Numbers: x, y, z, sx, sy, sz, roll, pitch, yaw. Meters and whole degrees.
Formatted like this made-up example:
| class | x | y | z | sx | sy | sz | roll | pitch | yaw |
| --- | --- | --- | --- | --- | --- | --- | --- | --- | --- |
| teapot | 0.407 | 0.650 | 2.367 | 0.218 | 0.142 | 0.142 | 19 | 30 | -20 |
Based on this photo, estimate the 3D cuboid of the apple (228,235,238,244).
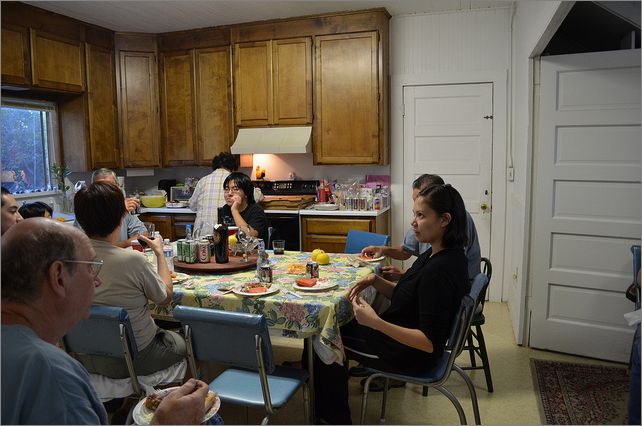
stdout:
| class | x | y | z | sx | sy | sz | roll | pitch | yaw |
| --- | --- | --- | --- | --- | --- | --- | --- | --- | --- |
| apple | -0.733 | 0.217 | 3.520 | 0.060 | 0.059 | 0.060 | 2 | 26 | 45 |

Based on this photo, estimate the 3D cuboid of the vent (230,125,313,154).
| class | x | y | z | sx | sy | sz | roll | pitch | yaw |
| --- | --- | --- | --- | --- | --- | --- | --- | --- | --- |
| vent | -0.638 | -0.919 | 5.379 | 1.007 | 0.308 | 0.307 | 2 | 12 | 19 |

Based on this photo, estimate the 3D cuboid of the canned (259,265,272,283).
| class | x | y | z | sx | sy | sz | roll | pitch | yaw |
| --- | --- | --- | --- | --- | --- | --- | --- | --- | --- |
| canned | -0.379 | 0.408 | 2.934 | 0.097 | 0.106 | 0.102 | 6 | 12 | 25 |

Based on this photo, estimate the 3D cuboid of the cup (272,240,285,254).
| class | x | y | z | sx | sy | sz | roll | pitch | yaw |
| --- | --- | --- | --- | --- | --- | --- | --- | --- | --- |
| cup | -0.365 | 0.288 | 3.710 | 0.097 | 0.084 | 0.104 | -1 | 11 | 0 |

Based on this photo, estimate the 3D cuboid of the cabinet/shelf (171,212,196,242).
| class | x | y | z | sx | sy | sz | roll | pitch | yaw |
| --- | --- | --- | --- | --- | --- | --- | --- | --- | --- |
| cabinet/shelf | -1.621 | 0.140 | 5.046 | 0.343 | 0.321 | 0.182 | 2 | 6 | 9 |

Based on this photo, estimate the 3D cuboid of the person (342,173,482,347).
| class | x | y | z | sx | sy | sz | roll | pitch | yaw |
| --- | --- | --- | --- | --- | --- | --- | --- | --- | --- |
| person | 0.710 | 0.109 | 3.680 | 1.085 | 1.569 | 0.655 | 2 | 5 | 4 |

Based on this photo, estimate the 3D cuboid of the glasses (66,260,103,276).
| class | x | y | z | sx | sy | sz | roll | pitch | yaw |
| --- | --- | --- | --- | --- | --- | --- | --- | --- | --- |
| glasses | -0.902 | 0.203 | 1.614 | 0.136 | 0.041 | 0.133 | -3 | -5 | 26 |

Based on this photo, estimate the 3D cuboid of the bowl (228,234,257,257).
| class | x | y | z | sx | sy | sz | roll | pitch | yaw |
| --- | --- | --- | --- | --- | --- | --- | --- | --- | --- |
| bowl | -0.649 | 0.260 | 3.442 | 0.179 | 0.083 | 0.181 | 2 | 1 | 0 |

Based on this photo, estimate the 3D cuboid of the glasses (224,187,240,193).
| class | x | y | z | sx | sy | sz | roll | pitch | yaw |
| --- | --- | --- | --- | --- | --- | --- | --- | --- | --- |
| glasses | -0.846 | -0.215 | 4.020 | 0.168 | 0.058 | 0.030 | 4 | 13 | 28 |

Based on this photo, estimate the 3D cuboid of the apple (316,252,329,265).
| class | x | y | z | sx | sy | sz | roll | pitch | yaw |
| --- | --- | --- | --- | --- | --- | --- | --- | --- | --- |
| apple | 0.010 | 0.353 | 3.370 | 0.087 | 0.080 | 0.085 | 3 | 26 | 32 |

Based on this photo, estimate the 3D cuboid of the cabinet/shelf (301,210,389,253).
| class | x | y | z | sx | sy | sz | roll | pitch | yaw |
| --- | --- | --- | --- | --- | --- | --- | --- | --- | --- |
| cabinet/shelf | 0.262 | 0.058 | 5.198 | 0.808 | 0.813 | 0.545 | -1 | -2 | 15 |

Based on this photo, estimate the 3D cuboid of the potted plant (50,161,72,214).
| class | x | y | z | sx | sy | sz | roll | pitch | yaw |
| --- | --- | --- | --- | --- | --- | --- | --- | --- | --- |
| potted plant | -3.254 | -0.305 | 5.399 | 0.248 | 0.621 | 0.229 | -7 | 4 | -33 |

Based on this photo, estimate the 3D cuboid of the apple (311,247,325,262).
| class | x | y | z | sx | sy | sz | roll | pitch | yaw |
| --- | --- | --- | --- | --- | --- | --- | --- | --- | --- |
| apple | -0.024 | 0.323 | 3.404 | 0.082 | 0.100 | 0.083 | 2 | -1 | -13 |

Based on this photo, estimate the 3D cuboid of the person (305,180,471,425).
| class | x | y | z | sx | sy | sz | roll | pitch | yaw |
| --- | --- | --- | --- | --- | --- | --- | --- | --- | --- |
| person | 0.442 | 0.615 | 2.659 | 0.852 | 1.571 | 0.584 | 5 | 14 | 29 |

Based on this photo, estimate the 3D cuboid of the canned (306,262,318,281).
| class | x | y | z | sx | sy | sz | roll | pitch | yaw |
| --- | --- | --- | --- | --- | --- | --- | --- | --- | --- |
| canned | -0.064 | 0.401 | 3.040 | 0.096 | 0.111 | 0.097 | 9 | 16 | 35 |

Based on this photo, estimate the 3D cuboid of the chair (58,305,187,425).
| class | x | y | z | sx | sy | sz | roll | pitch | yaw |
| --- | --- | --- | --- | --- | --- | --- | --- | --- | --- |
| chair | -1.188 | 0.775 | 2.537 | 0.519 | 0.751 | 0.545 | 2 | 13 | 15 |
